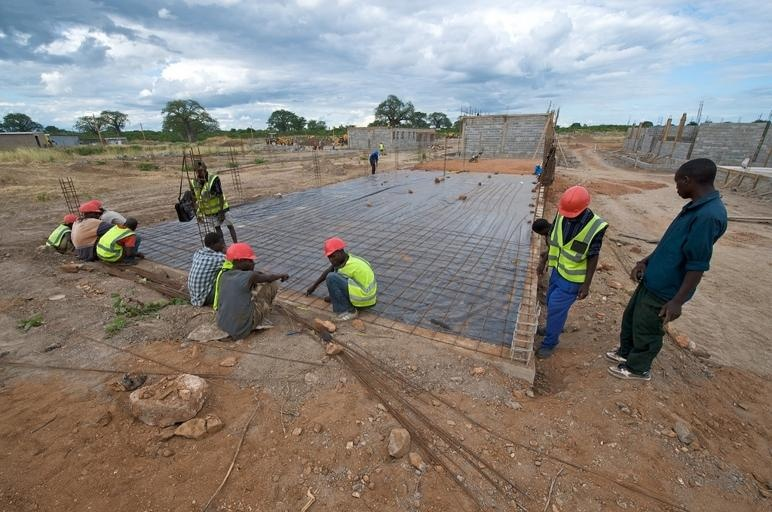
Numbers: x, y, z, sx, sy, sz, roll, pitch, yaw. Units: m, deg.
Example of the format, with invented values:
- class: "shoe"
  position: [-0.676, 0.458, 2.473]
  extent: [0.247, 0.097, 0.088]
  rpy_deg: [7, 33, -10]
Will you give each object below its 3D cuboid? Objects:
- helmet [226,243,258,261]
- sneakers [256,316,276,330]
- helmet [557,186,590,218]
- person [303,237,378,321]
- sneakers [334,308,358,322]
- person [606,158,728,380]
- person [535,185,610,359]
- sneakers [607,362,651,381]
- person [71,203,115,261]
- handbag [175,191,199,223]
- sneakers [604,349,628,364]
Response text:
- class: "helmet"
  position: [-1.622, -0.043, 4.191]
  extent: [0.319, 0.140, 0.218]
  rpy_deg: [-8, 17, -38]
- class: "sneakers"
  position: [-1.437, 0.810, 4.389]
  extent: [0.146, 0.055, 0.167]
  rpy_deg: [3, 7, 12]
- class: "helmet"
  position: [2.037, -0.617, 3.939]
  extent: [0.305, 0.217, 0.392]
  rpy_deg: [25, 63, 43]
- class: "person"
  position: [-0.496, 0.266, 4.522]
  extent: [0.694, 1.027, 0.402]
  rpy_deg: [0, 21, 3]
- class: "sneakers"
  position: [-0.493, 0.739, 4.564]
  extent: [0.304, 0.115, 0.122]
  rpy_deg: [2, 8, -8]
- class: "person"
  position: [2.722, 0.176, 3.557]
  extent: [0.632, 2.182, 0.765]
  rpy_deg: [15, 27, 38]
- class: "person"
  position: [2.039, 0.220, 4.056]
  extent: [0.518, 1.955, 0.528]
  rpy_deg: [8, 23, 23]
- class: "sneakers"
  position: [2.473, 1.205, 3.776]
  extent: [0.405, 0.134, 0.156]
  rpy_deg: [5, 8, 23]
- class: "person"
  position: [-4.868, -0.431, 6.101]
  extent: [0.570, 0.841, 0.624]
  rpy_deg: [9, 10, 18]
- class: "handbag"
  position: [-3.279, -0.806, 6.075]
  extent: [0.246, 0.545, 0.385]
  rpy_deg: [3, 46, -19]
- class: "sneakers"
  position: [2.496, 1.091, 3.974]
  extent: [0.204, 0.074, 0.102]
  rpy_deg: [13, 24, 32]
